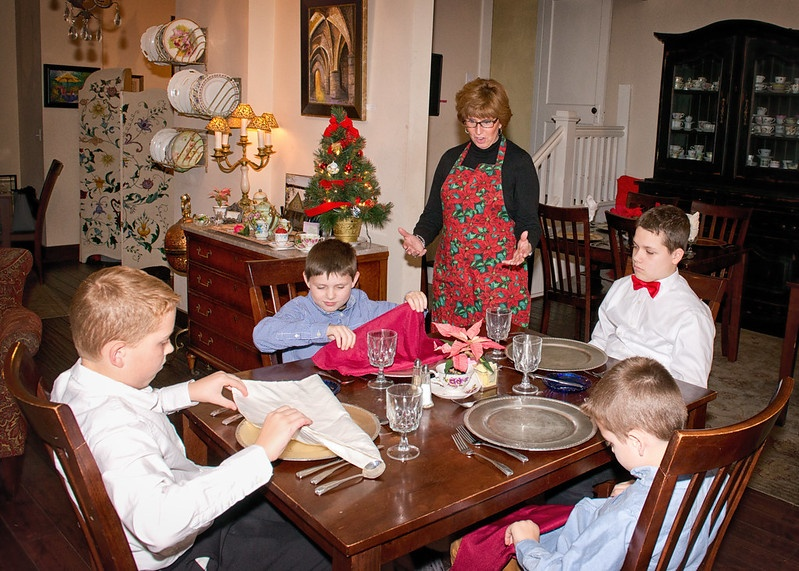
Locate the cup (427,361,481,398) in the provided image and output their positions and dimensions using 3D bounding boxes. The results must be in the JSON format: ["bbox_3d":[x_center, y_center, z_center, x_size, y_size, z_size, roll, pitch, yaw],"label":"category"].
[{"bbox_3d":[0.170,0.295,1.974,0.119,0.059,0.121,-2,7,0],"label":"cup"}]

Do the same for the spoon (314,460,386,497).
[{"bbox_3d":[-0.126,0.510,1.535,0.123,0.020,0.027,-22,29,-26],"label":"spoon"}]

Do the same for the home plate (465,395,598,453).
[{"bbox_3d":[0.399,0.414,1.788,0.394,0.048,0.422,2,6,0],"label":"home plate"}]

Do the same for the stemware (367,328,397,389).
[{"bbox_3d":[-0.063,0.252,1.991,0.116,0.195,0.114,-12,24,-30],"label":"stemware"}]

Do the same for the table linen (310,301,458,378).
[{"bbox_3d":[-0.068,0.222,2.141,0.342,0.146,0.270,-13,31,-27],"label":"table linen"}]

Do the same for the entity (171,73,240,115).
[{"bbox_3d":[-1.453,-1.422,4.321,0.507,0.343,0.305,-3,14,-11],"label":"entity"}]

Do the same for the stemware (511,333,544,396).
[{"bbox_3d":[0.441,0.276,2.034,0.099,0.174,0.099,3,7,35],"label":"stemware"}]

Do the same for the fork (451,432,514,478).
[{"bbox_3d":[0.217,0.464,1.674,0.054,0.049,0.320,-6,15,-23],"label":"fork"}]

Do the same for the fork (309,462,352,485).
[{"bbox_3d":[-0.181,0.488,1.590,0.030,0.027,0.227,7,5,18],"label":"fork"}]

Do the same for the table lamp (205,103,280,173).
[{"bbox_3d":[-1.173,-1.108,4.386,0.575,0.528,0.516,-10,18,-36],"label":"table lamp"}]

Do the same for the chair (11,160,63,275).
[{"bbox_3d":[-4.040,-0.777,6.585,0.560,1.283,1.626,-8,15,-29],"label":"chair"}]

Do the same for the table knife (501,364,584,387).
[{"bbox_3d":[0.509,0.323,2.080,0.257,0.017,0.031,12,32,26],"label":"table knife"}]

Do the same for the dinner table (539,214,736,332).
[{"bbox_3d":[1.413,-0.096,3.495,0.473,0.454,0.847,-8,18,-29],"label":"dinner table"}]

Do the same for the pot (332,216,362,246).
[{"bbox_3d":[-0.315,-0.351,3.664,0.190,0.172,0.201,2,15,0],"label":"pot"}]

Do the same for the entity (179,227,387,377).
[{"bbox_3d":[-0.592,0.047,3.037,0.324,0.819,0.808,-5,17,-40],"label":"entity"}]

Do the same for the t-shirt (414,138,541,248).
[{"bbox_3d":[0.404,-0.478,3.009,0.644,0.519,0.352,4,14,16],"label":"t-shirt"}]
